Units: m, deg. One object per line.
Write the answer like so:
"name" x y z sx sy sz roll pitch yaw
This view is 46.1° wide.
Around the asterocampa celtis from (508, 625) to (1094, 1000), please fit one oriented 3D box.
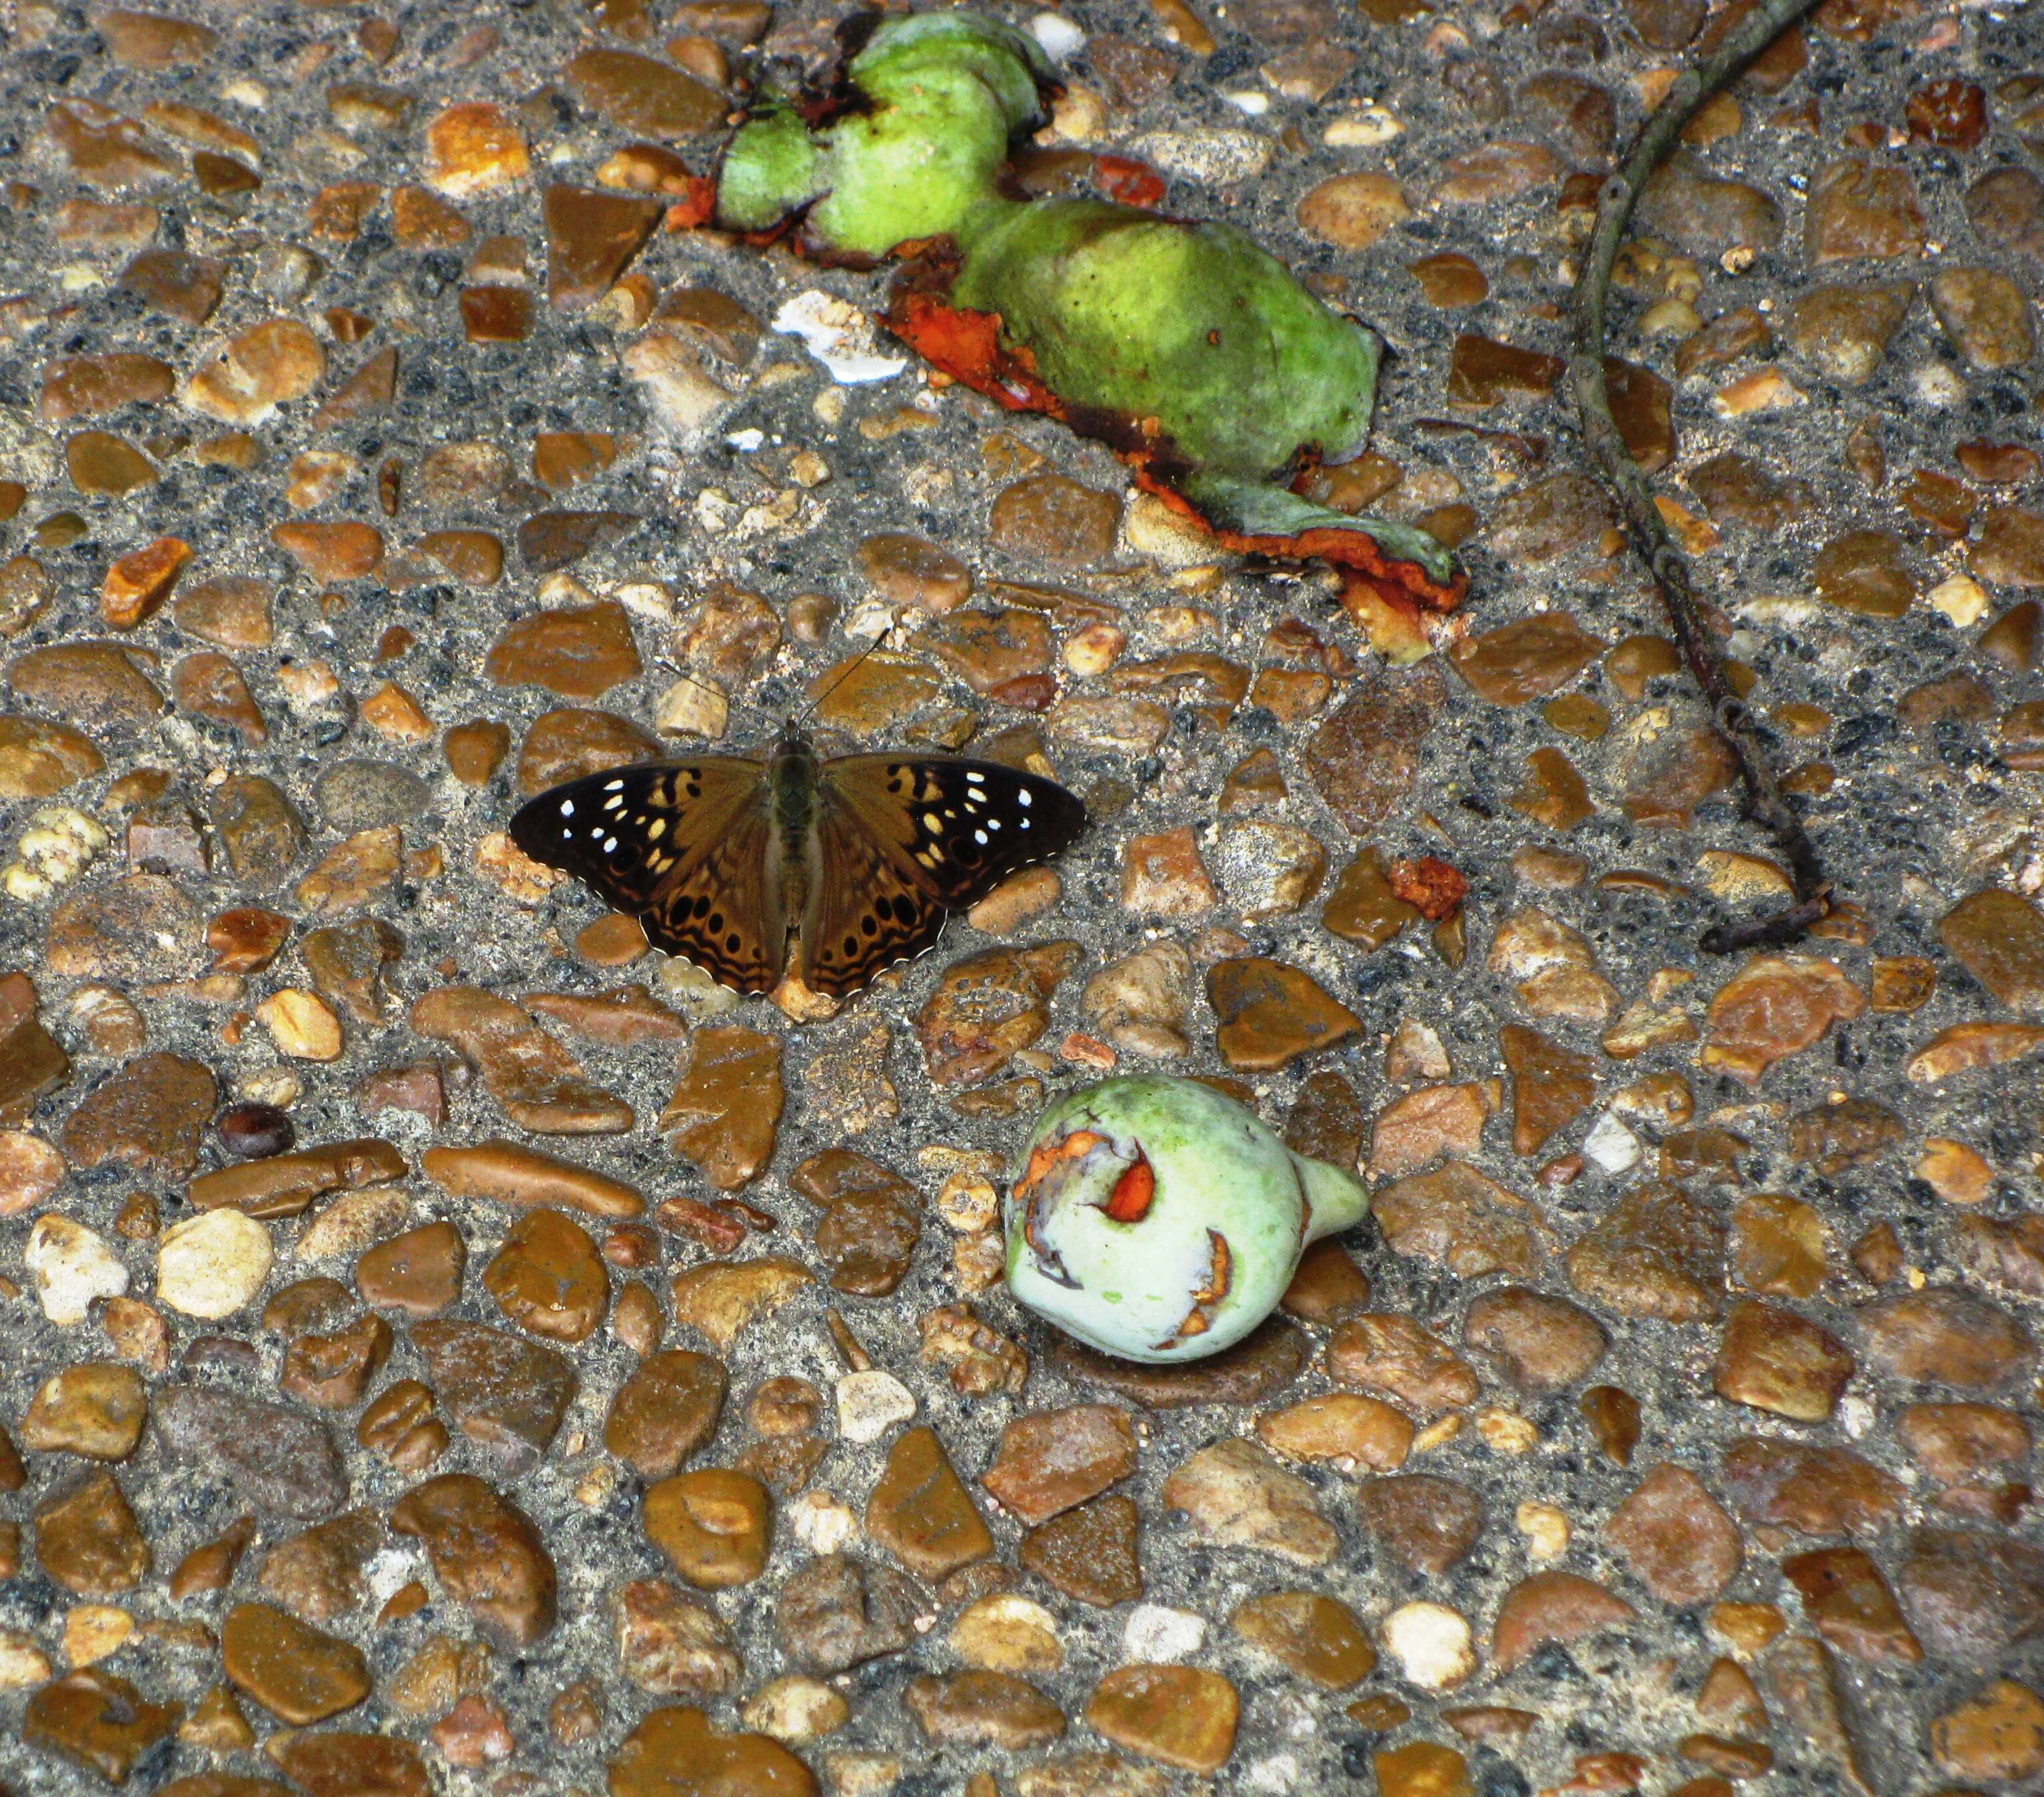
"asterocampa celtis" -0.252 -0.036 2.689 0.628 0.177 0.253 1 65 -5
